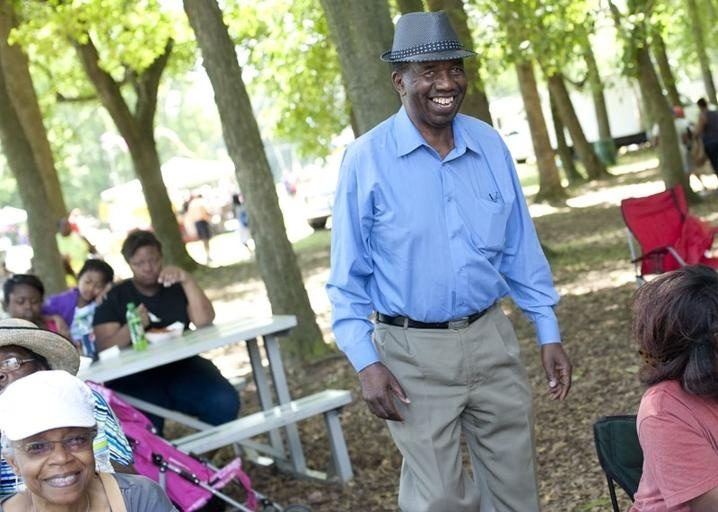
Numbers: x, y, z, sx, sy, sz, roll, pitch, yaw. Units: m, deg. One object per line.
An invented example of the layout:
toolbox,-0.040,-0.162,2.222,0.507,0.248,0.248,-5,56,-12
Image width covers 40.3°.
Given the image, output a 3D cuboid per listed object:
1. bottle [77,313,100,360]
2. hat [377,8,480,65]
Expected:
bottle,-2.637,0.784,9.474,0.106,0.442,0.420,-6,3,-7
hat,0.467,-1.519,6.737,0.608,0.338,0.819,-13,14,-28
